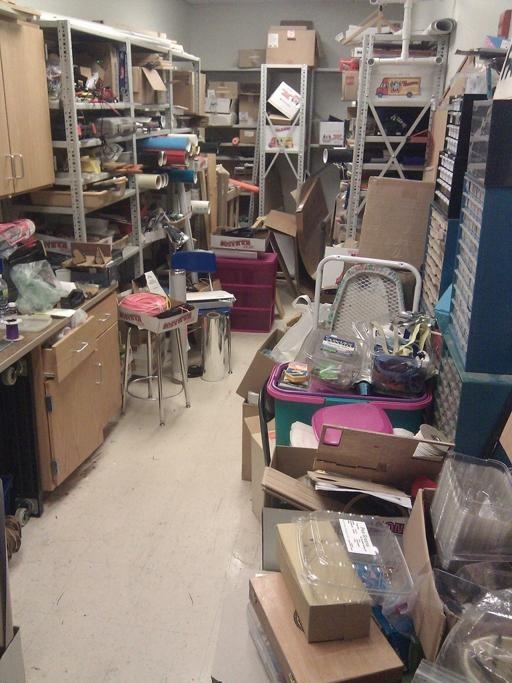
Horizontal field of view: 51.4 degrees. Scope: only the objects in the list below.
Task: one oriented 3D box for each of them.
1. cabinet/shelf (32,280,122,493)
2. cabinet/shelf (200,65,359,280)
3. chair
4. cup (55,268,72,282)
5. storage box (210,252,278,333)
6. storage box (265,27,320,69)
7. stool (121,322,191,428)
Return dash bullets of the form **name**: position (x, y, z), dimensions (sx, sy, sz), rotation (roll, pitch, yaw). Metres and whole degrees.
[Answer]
- **cabinet/shelf**: position (-0.847, 0.215, 2.485), dimensions (0.340, 0.726, 0.834), rotation (1, 20, 1)
- **cabinet/shelf**: position (0.250, -1.829, 5.650), dimensions (0.732, 2.382, 2.356), rotation (5, 26, 5)
- **chair**: position (-0.395, -0.182, 3.960), dimensions (0.476, 0.833, 0.572), rotation (-6, 26, -18)
- **cup**: position (-0.982, -0.335, 2.721), dimensions (0.076, 0.063, 0.105), rotation (-7, 22, -21)
- **storage box**: position (-0.073, -0.465, 5.049), dimensions (0.831, 0.833, 0.600), rotation (0, 16, 2)
- **storage box**: position (0.392, -3.304, 5.993), dimensions (0.481, 0.323, 0.495), rotation (2, 17, 4)
- **stool**: position (-0.625, 0.150, 3.290), dimensions (0.421, 0.621, 0.442), rotation (-9, 15, -29)
